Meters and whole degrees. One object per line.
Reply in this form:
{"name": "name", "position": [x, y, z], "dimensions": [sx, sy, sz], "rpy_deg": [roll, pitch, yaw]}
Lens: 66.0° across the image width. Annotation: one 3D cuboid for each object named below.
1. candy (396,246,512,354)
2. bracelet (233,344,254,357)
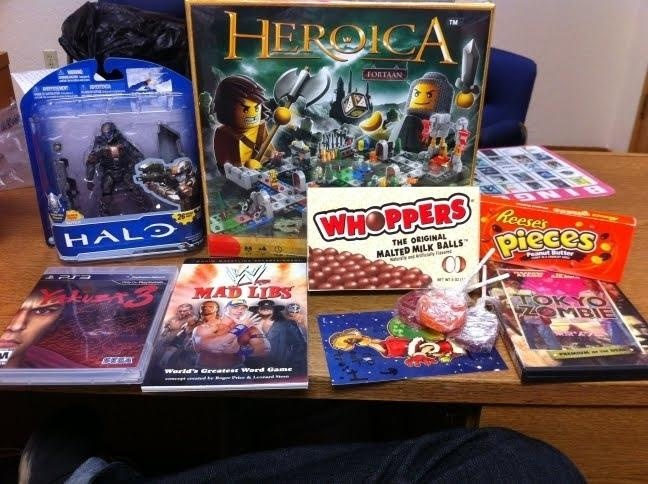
{"name": "candy", "position": [0.275, 0.110, 0.986], "dimensions": [0.148, 0.065, 0.212], "rpy_deg": [19, 31, 31]}
{"name": "bracelet", "position": [-0.147, 0.203, 0.926], "dimensions": [0.027, 0.006, 0.024], "rpy_deg": [-1, 25, -7]}
